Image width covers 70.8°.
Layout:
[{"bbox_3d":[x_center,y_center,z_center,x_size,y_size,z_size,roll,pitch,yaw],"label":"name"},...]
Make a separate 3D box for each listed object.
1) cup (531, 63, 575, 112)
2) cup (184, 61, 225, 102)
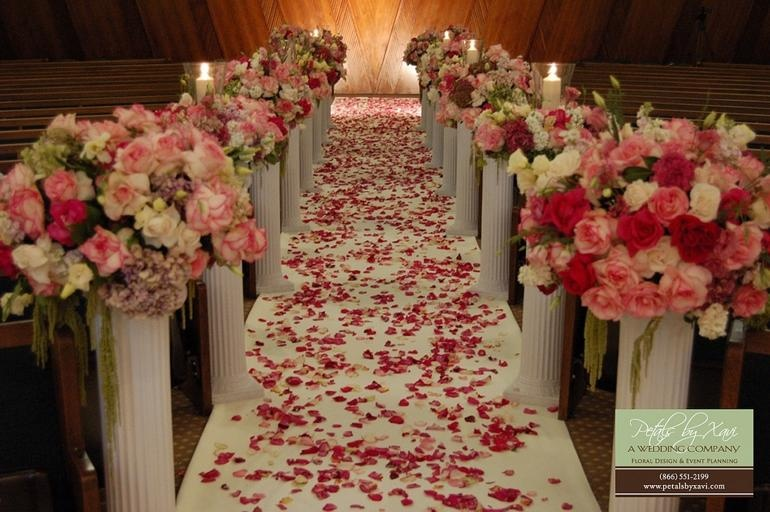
[{"bbox_3d":[0.941,-0.964,3.079,0.286,0.313,0.242,-1,9,-5],"label":"cup"},{"bbox_3d":[-0.852,-0.842,2.650,0.190,0.175,0.174,3,13,-1],"label":"cup"}]
